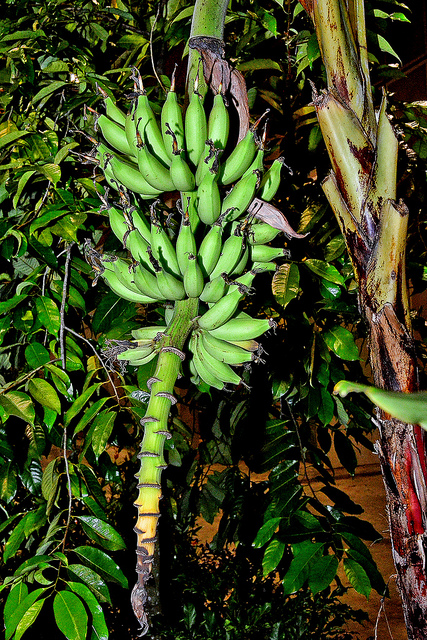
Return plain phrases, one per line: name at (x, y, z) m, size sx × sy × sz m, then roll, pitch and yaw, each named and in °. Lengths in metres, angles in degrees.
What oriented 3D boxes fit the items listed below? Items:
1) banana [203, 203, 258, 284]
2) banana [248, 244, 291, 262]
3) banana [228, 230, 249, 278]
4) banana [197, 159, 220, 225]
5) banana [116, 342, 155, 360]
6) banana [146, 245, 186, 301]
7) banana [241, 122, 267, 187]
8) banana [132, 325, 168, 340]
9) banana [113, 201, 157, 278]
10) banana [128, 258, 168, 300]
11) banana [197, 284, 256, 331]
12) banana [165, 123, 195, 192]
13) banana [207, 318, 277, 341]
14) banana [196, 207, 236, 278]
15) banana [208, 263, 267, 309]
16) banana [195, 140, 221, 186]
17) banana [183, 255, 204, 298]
banana at (0.022, -0.101, 0.751) m, size 0.017 × 0.119 × 0.018 m, roll 28°, pitch -5°, yaw -29°
banana at (0.071, -0.091, 0.790) m, size 0.073 × 0.022 × 0.028 m, roll 2°, pitch -9°, yaw 29°
banana at (0.030, -0.082, 0.777) m, size 0.027 × 0.073 × 0.017 m, roll -7°, pitch 30°, yaw -25°
banana at (-0.006, -0.164, 0.734) m, size 0.030 × 0.097 × 0.030 m, roll 13°, pitch 49°, yaw 12°
banana at (-0.100, 0.042, 0.747) m, size 0.055 × 0.023 × 0.009 m, roll -3°, pitch 14°, yaw 16°
banana at (-0.059, -0.052, 0.718) m, size 0.028 × 0.065 × 0.048 m, roll 2°, pitch 16°, yaw 33°
banana at (0.057, -0.220, 0.781) m, size 0.020 × 0.086 × 0.023 m, roll 8°, pitch -1°, yaw -15°
banana at (-0.085, 0.018, 0.782) m, size 0.049 × 0.013 × 0.016 m, roll -16°, pitch -37°, yaw 21°
banana at (-0.107, -0.107, 0.782) m, size 0.044 × 0.094 × 0.037 m, roll -14°, pitch -6°, yaw -19°
banana at (-0.093, -0.045, 0.753) m, size 0.028 × 0.033 × 0.087 m, roll -26°, pitch -14°, yaw -10°
banana at (0.009, -0.006, 0.760) m, size 0.090 × 0.030 × 0.036 m, roll -41°, pitch 36°, yaw 19°
banana at (-0.043, -0.199, 0.738) m, size 0.025 × 0.071 × 0.053 m, roll -5°, pitch 14°, yaw 7°
banana at (0.037, 0.013, 0.736) m, size 0.105 × 0.030 × 0.038 m, roll -4°, pitch 13°, yaw 6°
banana at (0.004, -0.099, 0.747) m, size 0.038 × 0.096 × 0.025 m, roll 32°, pitch 7°, yaw 26°
banana at (0.032, -0.044, 0.736) m, size 0.028 × 0.019 × 0.068 m, roll -27°, pitch -1°, yaw -43°
banana at (-0.007, -0.202, 0.736) m, size 0.023 × 0.024 × 0.067 m, roll 25°, pitch -26°, yaw 4°
banana at (-0.023, -0.056, 0.719) m, size 0.034 × 0.057 × 0.034 m, roll 1°, pitch 14°, yaw 4°
